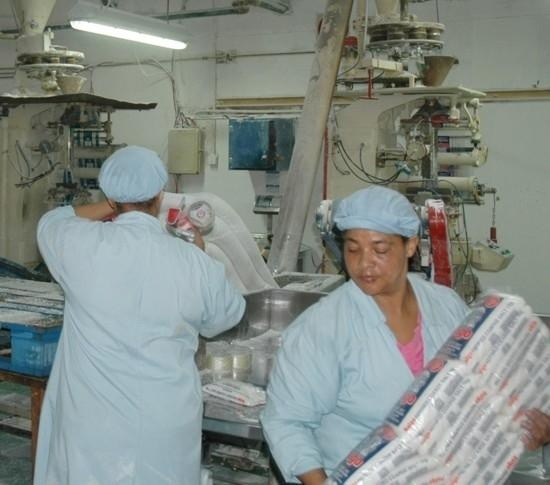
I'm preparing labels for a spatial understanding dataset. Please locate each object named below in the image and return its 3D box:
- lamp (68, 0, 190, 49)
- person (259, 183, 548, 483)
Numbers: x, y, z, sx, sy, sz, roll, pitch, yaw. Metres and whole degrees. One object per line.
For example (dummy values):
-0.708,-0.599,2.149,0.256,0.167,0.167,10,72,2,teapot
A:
-1.034,-1.546,5.256,0.300,0.159,1.017,7,6,32,lamp
0.262,0.238,2.070,0.332,0.788,0.583,8,8,43,person
